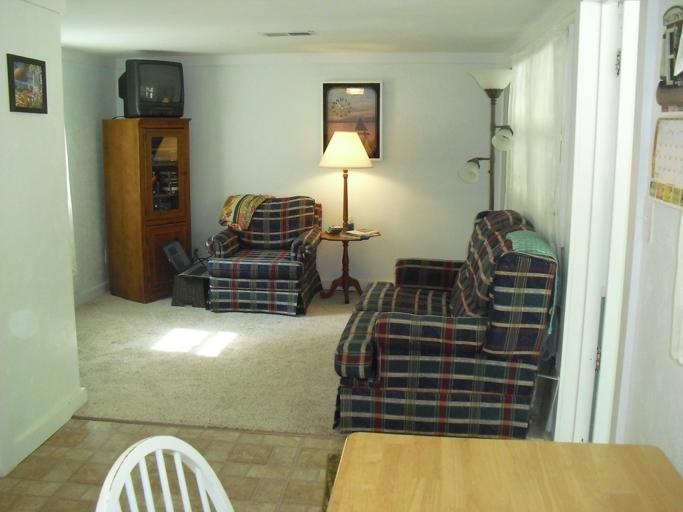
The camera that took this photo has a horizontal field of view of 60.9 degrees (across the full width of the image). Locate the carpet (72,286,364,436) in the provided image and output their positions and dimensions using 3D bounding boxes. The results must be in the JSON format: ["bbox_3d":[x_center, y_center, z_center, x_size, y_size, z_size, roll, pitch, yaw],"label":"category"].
[{"bbox_3d":[-1.168,0.765,4.652,2.481,0.248,2.216,4,8,6],"label":"carpet"}]

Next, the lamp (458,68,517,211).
[{"bbox_3d":[1.138,-0.726,4.513,0.438,1.428,0.346,5,26,23],"label":"lamp"}]

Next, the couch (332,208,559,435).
[{"bbox_3d":[0.637,0.376,3.784,1.238,1.327,1.197,4,8,6],"label":"couch"}]

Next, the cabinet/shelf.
[{"bbox_3d":[-1.953,-0.481,5.888,0.840,1.849,0.473,-1,9,-23],"label":"cabinet/shelf"}]

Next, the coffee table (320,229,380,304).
[{"bbox_3d":[0.037,0.083,6.091,0.681,0.683,0.691,0,7,-8],"label":"coffee table"}]

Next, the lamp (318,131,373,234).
[{"bbox_3d":[0.039,-0.696,5.762,0.508,0.992,0.479,12,-17,-43],"label":"lamp"}]

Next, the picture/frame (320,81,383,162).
[{"bbox_3d":[0.118,-1.411,5.930,0.846,1.159,0.086,1,8,2],"label":"picture/frame"}]

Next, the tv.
[{"bbox_3d":[-1.955,-1.685,5.799,0.598,0.539,0.596,9,17,19],"label":"tv"}]

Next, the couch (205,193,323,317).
[{"bbox_3d":[-0.773,-0.042,5.897,1.211,1.098,1.331,6,10,25],"label":"couch"}]
